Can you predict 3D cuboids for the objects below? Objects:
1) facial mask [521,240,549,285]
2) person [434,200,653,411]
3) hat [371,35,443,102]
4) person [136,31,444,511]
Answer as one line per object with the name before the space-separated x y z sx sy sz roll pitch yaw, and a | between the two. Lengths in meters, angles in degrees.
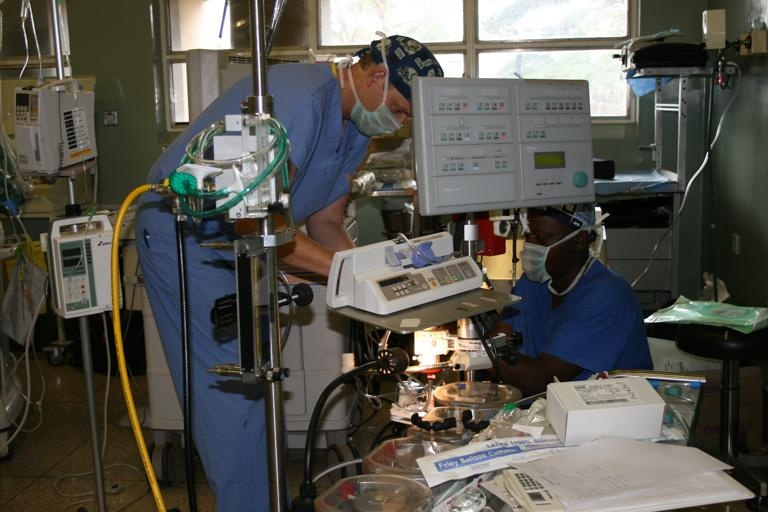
facial mask | 0.651 0.032 3.150 0.157 0.106 0.139 -9 19 -1
person | 0.804 0.191 3.067 0.629 0.793 0.543 0 11 15
hat | 0.097 -0.716 2.785 0.211 0.244 0.238 -10 13 -34
person | -0.388 0.071 2.906 1.087 1.797 0.565 -7 11 -20
